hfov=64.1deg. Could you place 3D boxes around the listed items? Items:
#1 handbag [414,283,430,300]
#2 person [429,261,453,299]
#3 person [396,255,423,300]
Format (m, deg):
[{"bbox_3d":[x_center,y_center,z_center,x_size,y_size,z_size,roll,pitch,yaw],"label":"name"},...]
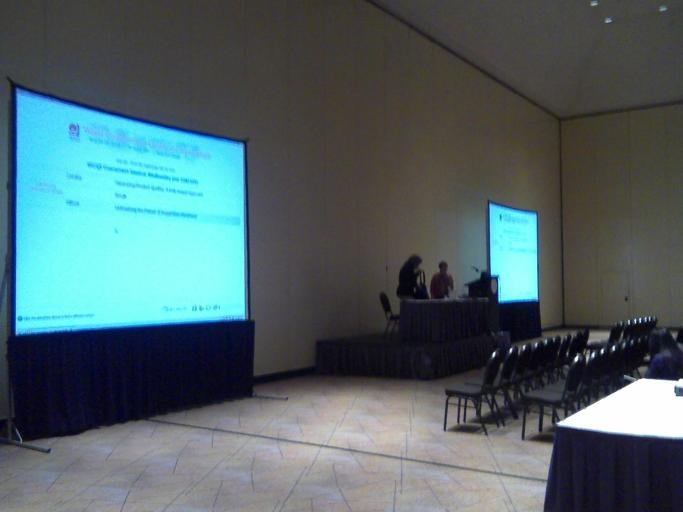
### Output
[{"bbox_3d":[1.585,0.664,10.067,0.252,0.289,0.481,0,-5,16],"label":"handbag"},{"bbox_3d":[2.183,0.773,11.768,0.456,1.346,0.337,0,18,11],"label":"person"},{"bbox_3d":[1.312,0.388,10.467,0.420,0.778,1.125,0,2,6],"label":"person"}]
